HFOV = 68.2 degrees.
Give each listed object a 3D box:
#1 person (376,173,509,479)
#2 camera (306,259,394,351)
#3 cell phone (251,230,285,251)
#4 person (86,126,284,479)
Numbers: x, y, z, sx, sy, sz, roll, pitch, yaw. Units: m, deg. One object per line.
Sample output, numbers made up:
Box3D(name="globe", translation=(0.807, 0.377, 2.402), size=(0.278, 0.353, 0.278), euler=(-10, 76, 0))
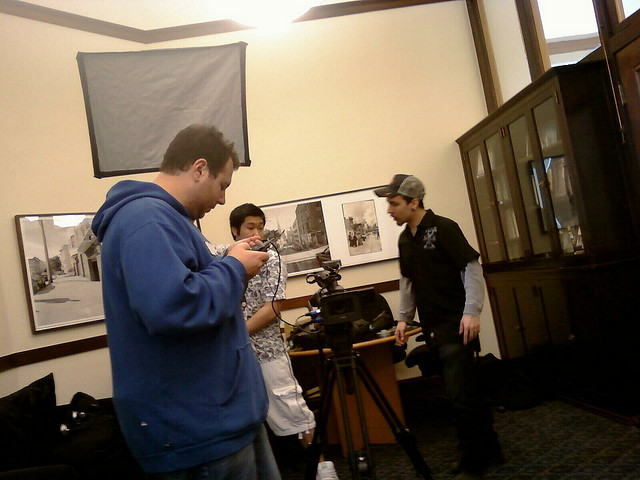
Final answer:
Box3D(name="person", translation=(0.802, 0.488, 3.080), size=(0.575, 1.955, 0.395), euler=(-12, -3, 29))
Box3D(name="camera", translation=(0.101, 0.384, 2.680), size=(0.466, 0.495, 0.387), euler=(-14, -14, 9))
Box3D(name="cell phone", translation=(-0.366, -0.010, 3.346), size=(0.184, 0.049, 0.102), euler=(-38, 24, -2))
Box3D(name="person", translation=(-0.485, 0.233, 1.765), size=(0.607, 1.003, 0.337), euler=(-9, -3, -25))
